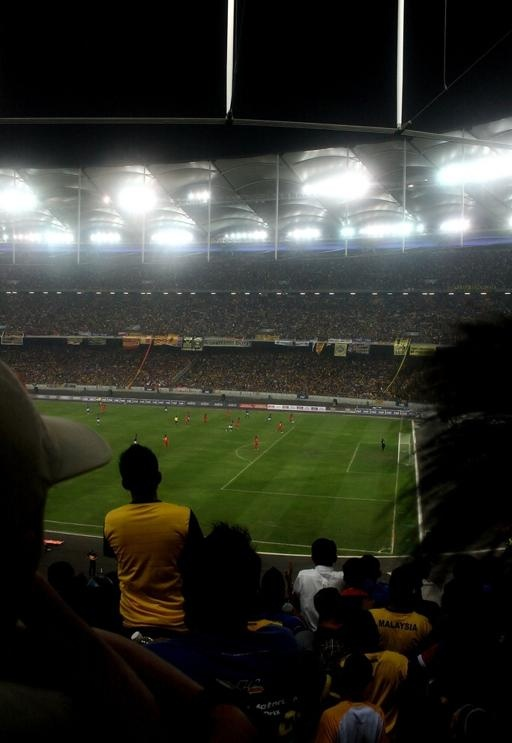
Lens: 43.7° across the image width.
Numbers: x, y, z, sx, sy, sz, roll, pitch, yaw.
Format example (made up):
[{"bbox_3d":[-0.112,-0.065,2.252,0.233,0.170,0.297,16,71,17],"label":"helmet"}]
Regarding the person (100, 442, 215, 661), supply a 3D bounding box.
[{"bbox_3d":[-0.456,0.962,3.026,0.489,1.224,0.433,-3,7,8],"label":"person"}]
